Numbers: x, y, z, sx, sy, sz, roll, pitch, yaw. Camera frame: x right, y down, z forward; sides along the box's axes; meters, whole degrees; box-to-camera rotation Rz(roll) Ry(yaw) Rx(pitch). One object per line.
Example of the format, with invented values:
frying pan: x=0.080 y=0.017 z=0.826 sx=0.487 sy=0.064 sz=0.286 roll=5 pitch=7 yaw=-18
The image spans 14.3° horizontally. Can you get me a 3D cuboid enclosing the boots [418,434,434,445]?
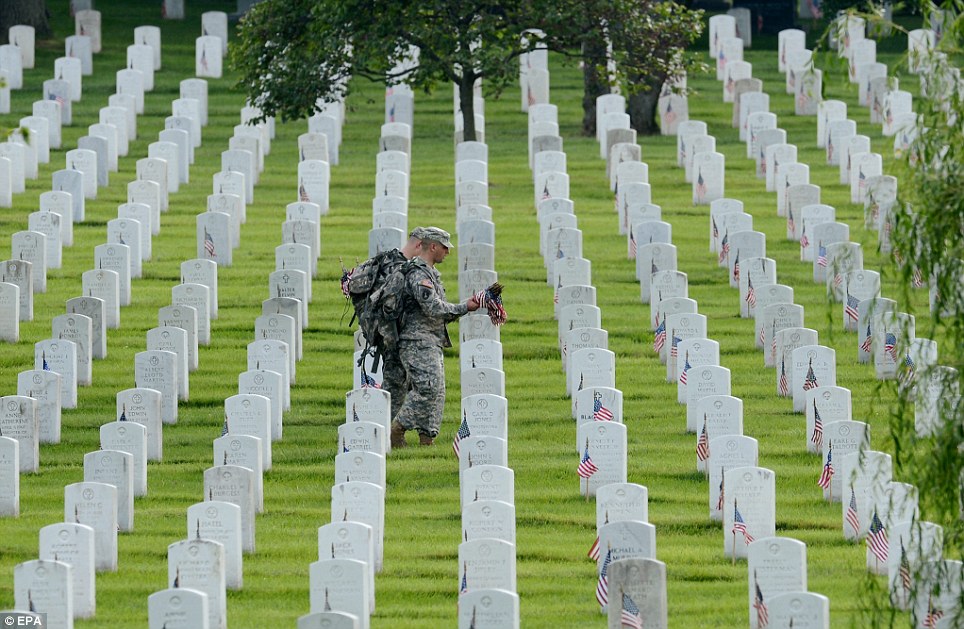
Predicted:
boots: x=-0.975 y=2.228 z=67.526 sx=0.217 sy=0.153 sz=0.199 roll=2 pitch=4 yaw=16

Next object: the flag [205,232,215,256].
flag: x=-5.134 y=-1.351 z=72.781 sx=0.208 sy=0.436 sz=0.105 roll=-5 pitch=26 yaw=-8
